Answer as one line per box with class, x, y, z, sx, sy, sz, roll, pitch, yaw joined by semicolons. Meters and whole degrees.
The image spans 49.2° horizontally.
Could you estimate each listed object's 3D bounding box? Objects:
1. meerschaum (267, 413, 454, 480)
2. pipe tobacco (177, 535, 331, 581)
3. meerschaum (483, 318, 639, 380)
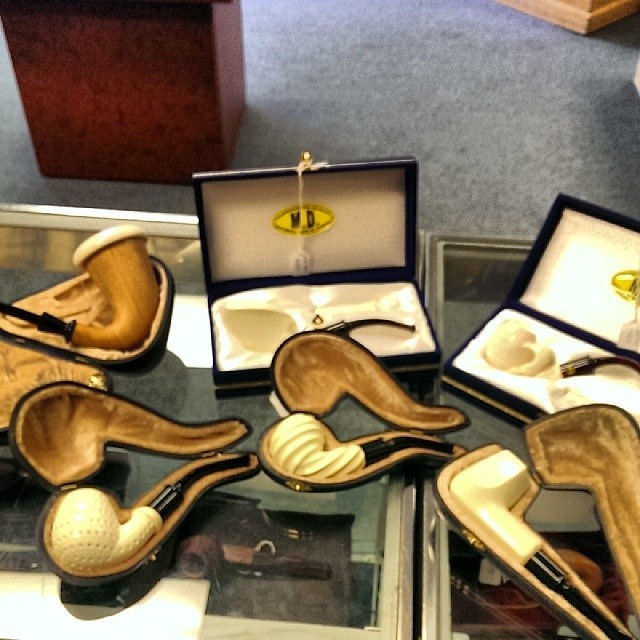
meerschaum;0.065;0.169;0.901;0.277;0.061;0.095;7;21;-17
pipe tobacco;-0.077;0.281;0.865;0.184;0.052;0.061;4;11;-1
meerschaum;0.360;0.032;1.057;0.232;0.065;0.110;0;43;-1
